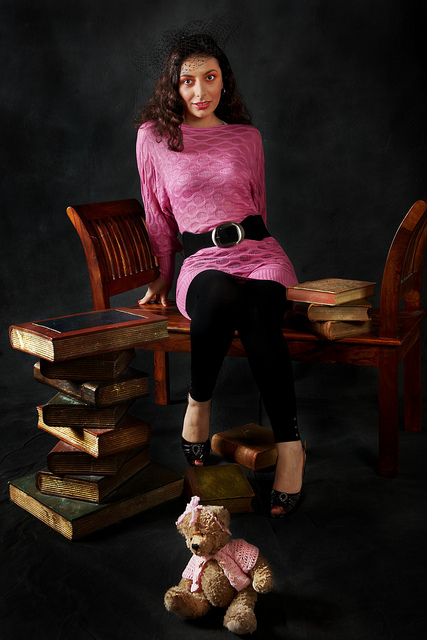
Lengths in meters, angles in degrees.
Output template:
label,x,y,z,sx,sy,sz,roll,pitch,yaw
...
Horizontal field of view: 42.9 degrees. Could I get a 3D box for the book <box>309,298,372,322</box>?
label,x,y,z,sx,sy,sz,roll,pitch,yaw
book,0.365,-0.024,1.556,0.179,0.069,0.060,-5,10,-21

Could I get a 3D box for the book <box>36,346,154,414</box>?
label,x,y,z,sx,sy,sz,roll,pitch,yaw
book,-0.313,0.127,1.312,0.210,0.044,0.209,8,11,33

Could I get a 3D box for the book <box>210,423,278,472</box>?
label,x,y,z,sx,sy,sz,roll,pitch,yaw
book,0.094,0.376,1.645,0.174,0.037,0.169,-8,11,-37

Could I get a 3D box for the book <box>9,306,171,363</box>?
label,x,y,z,sx,sy,sz,roll,pitch,yaw
book,-0.297,0.036,1.356,0.346,0.086,0.261,-8,12,-38

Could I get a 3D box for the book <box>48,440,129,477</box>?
label,x,y,z,sx,sy,sz,roll,pitch,yaw
book,-0.300,0.329,1.294,0.122,0.026,0.117,0,-1,12

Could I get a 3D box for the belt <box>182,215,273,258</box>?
label,x,y,z,sx,sy,sz,roll,pitch,yaw
belt,0.041,-0.283,1.816,0.299,0.135,0.191,-1,9,-2

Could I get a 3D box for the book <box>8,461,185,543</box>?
label,x,y,z,sx,sy,sz,roll,pitch,yaw
book,-0.254,0.445,1.335,0.210,0.038,0.212,1,10,41

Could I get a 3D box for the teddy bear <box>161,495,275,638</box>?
label,x,y,z,sx,sy,sz,roll,pitch,yaw
teddy bear,0.012,0.447,0.986,0.186,0.200,0.150,1,10,11

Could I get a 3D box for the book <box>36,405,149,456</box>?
label,x,y,z,sx,sy,sz,roll,pitch,yaw
book,-0.317,0.275,1.330,0.172,0.037,0.169,8,6,28

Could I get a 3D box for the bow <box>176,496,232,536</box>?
label,x,y,z,sx,sy,sz,roll,pitch,yaw
bow,-0.010,0.379,1.060,0.097,0.052,0.066,35,-33,-32

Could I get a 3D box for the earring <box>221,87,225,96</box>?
label,x,y,z,sx,sy,sz,roll,pitch,yaw
earring,0.033,-0.821,1.956,0.011,0.021,0.030,-2,9,-5
